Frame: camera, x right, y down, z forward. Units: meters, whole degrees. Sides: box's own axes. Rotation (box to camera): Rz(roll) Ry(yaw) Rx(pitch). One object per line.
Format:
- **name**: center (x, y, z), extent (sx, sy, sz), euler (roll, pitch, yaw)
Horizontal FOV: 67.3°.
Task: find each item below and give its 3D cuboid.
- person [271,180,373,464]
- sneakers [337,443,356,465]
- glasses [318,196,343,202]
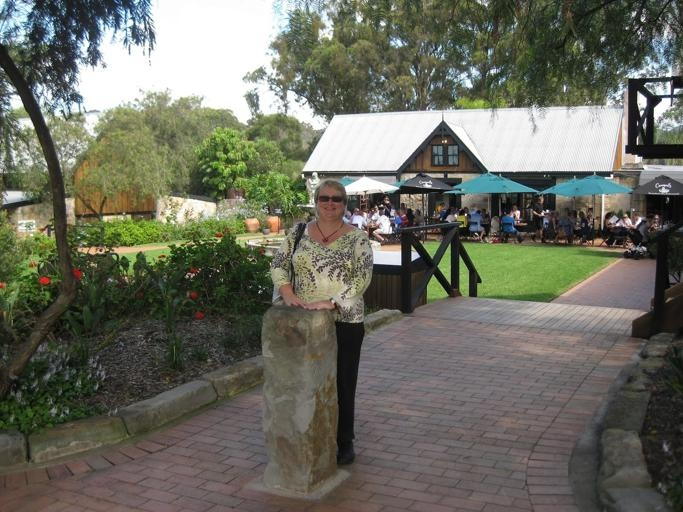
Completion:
- **person**: center (-0.163, 0.540, 4.186), extent (0.765, 2.292, 0.553), euler (1, 8, 0)
- **sneakers**: center (0.024, 1.627, 4.249), extent (0.179, 0.191, 0.093), euler (2, -3, -8)
- **glasses**: center (-0.095, -0.458, 4.107), extent (0.184, 0.056, 0.037), euler (0, 9, -7)
